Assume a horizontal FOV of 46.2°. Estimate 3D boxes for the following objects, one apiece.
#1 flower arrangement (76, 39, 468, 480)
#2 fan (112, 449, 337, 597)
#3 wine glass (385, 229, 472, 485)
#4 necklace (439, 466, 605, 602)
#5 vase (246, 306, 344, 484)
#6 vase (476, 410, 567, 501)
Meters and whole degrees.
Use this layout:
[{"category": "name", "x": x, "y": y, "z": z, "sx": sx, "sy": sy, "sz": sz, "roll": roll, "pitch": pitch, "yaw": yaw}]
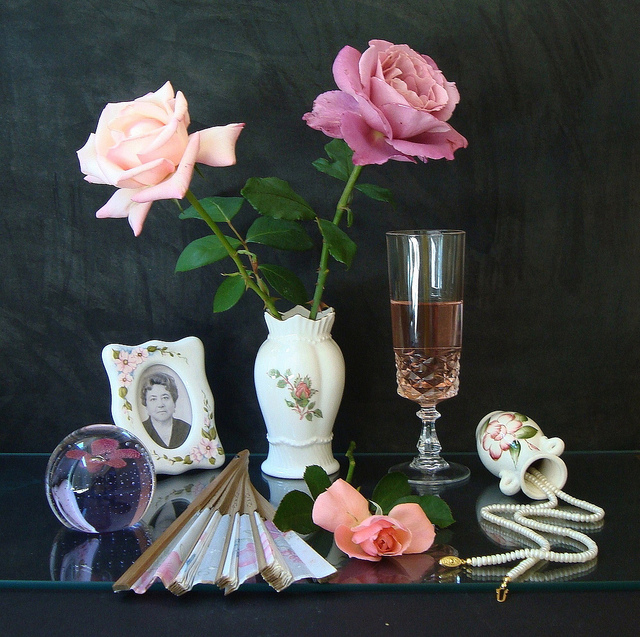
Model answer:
[{"category": "flower arrangement", "x": -0.033, "y": -0.054, "z": 0.964, "sx": 0.426, "sy": 0.550, "sz": 0.382, "roll": 1, "pitch": 16, "yaw": 8}, {"category": "fan", "x": -0.099, "y": 0.223, "z": 0.851, "sx": 0.189, "sy": 0.031, "sz": 0.270, "roll": 1, "pitch": 17, "yaw": 0}, {"category": "wine glass", "x": 0.149, "y": 0.057, "z": 0.988, "sx": 0.115, "sy": 0.339, "sz": 0.111, "roll": -5, "pitch": 17, "yaw": -11}, {"category": "necklace", "x": 0.247, "y": 0.233, "z": 0.883, "sx": 0.166, "sy": 0.019, "sz": 0.299, "roll": 3, "pitch": 16, "yaw": 21}, {"category": "vase", "x": -0.026, "y": 0.104, "z": 1.003, "sx": 0.118, "sy": 0.227, "sz": 0.082, "roll": -2, "pitch": 16, "yaw": -1}, {"category": "vase", "x": 0.261, "y": 0.188, "z": 0.972, "sx": 0.129, "sy": 0.075, "sz": 0.099, "roll": -37, "pitch": -11, "yaw": 18}]
